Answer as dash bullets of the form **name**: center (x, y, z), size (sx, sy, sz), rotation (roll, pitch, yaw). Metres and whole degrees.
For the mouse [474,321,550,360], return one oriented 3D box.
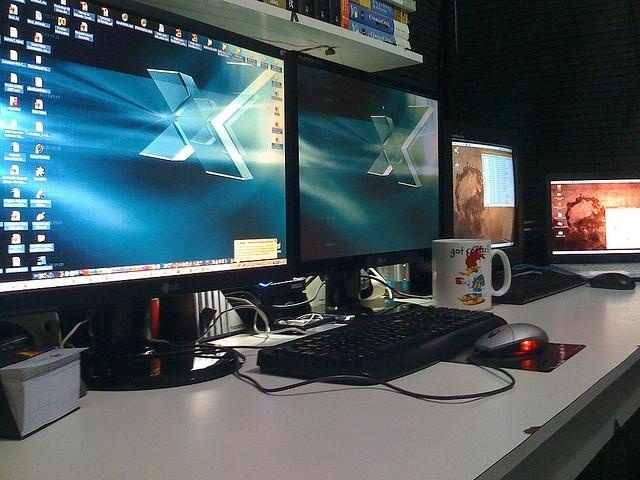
- **mouse**: center (0.323, 0.168, 0.794), size (0.099, 0.032, 0.058), rotation (-1, 1, -11)

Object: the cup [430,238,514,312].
- **cup**: center (0.338, 0.087, 1.186), size (0.221, 0.179, 0.133), rotation (2, -3, -26)

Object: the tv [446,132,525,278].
- **tv**: center (0.516, -0.117, 1.484), size (0.074, 0.381, 0.555), rotation (-8, -6, 34)

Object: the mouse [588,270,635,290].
- **mouse**: center (0.888, 0.119, 1.431), size (0.059, 0.034, 0.101), rotation (-3, 1, -42)
